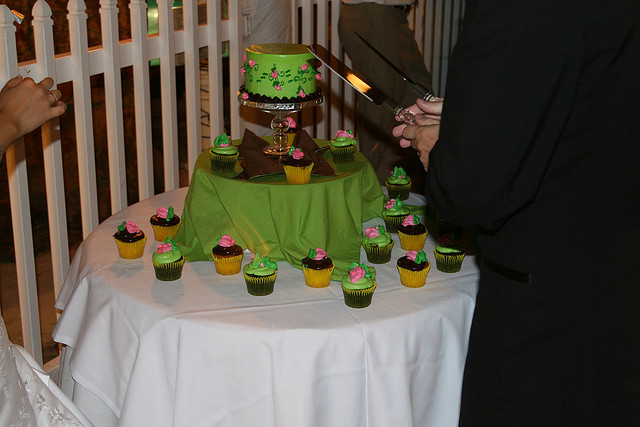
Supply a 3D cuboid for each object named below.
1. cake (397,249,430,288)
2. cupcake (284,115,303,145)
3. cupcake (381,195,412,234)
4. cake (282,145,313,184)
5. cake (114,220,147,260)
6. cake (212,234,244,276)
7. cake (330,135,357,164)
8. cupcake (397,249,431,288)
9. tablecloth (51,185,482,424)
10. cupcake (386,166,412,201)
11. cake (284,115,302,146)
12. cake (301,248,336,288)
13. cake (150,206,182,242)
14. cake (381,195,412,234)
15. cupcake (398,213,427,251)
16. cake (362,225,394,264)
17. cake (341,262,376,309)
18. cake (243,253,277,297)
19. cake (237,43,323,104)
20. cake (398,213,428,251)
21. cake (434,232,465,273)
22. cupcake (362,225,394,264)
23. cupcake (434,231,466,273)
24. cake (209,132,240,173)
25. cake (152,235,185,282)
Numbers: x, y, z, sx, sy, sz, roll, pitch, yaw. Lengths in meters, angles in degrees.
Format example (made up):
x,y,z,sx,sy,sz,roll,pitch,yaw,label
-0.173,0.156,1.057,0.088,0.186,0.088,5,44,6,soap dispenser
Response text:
x,y,z,sx,sy,sz,roll,pitch,yaw,label
0.393,0.209,2.262,0.124,0.170,0.152,-2,27,3,cake
-0.141,-0.438,2.835,0.136,0.158,0.154,-2,30,-5,cupcake
0.358,-0.009,2.687,0.138,0.219,0.156,2,25,5,cupcake
-0.101,-0.221,2.357,0.130,0.162,0.125,6,24,11,cake
-0.848,0.121,2.394,0.111,0.154,0.134,-1,5,-9,cake
-0.387,0.178,2.337,0.140,0.183,0.146,-11,26,-27,cake
0.110,-0.328,2.573,0.125,0.165,0.124,9,20,25,cake
0.403,0.224,2.257,0.123,0.160,0.119,-12,16,-28,cupcake
-0.232,0.538,2.299,1.825,0.579,0.832,4,39,4,tablecloth
0.421,-0.166,2.884,0.124,0.171,0.137,8,18,38,cupcake
-0.133,-0.458,2.802,0.129,0.149,0.146,0,29,-1,cake
0.004,0.229,2.241,0.123,0.155,0.130,3,8,43,cake
-0.726,0.052,2.526,0.124,0.164,0.140,17,17,34,cake
0.371,-0.002,2.644,0.118,0.168,0.131,-16,21,-34,cake
0.431,0.086,2.503,0.121,0.176,0.140,0,9,16,cupcake
0.259,0.124,2.406,0.131,0.171,0.139,-19,27,-24,cake
0.152,0.290,2.173,0.141,0.168,0.131,3,24,-4,cake
-0.245,0.236,2.185,0.133,0.169,0.137,-15,28,-31,cake
-0.195,-0.698,2.622,0.431,0.253,0.469,15,28,24,cake
0.435,0.084,2.516,0.140,0.178,0.149,6,14,32,cake
0.541,0.171,2.375,0.133,0.191,0.150,-1,24,2,cake
0.257,0.131,2.416,0.133,0.182,0.142,1,19,24,cupcake
0.557,0.181,2.407,0.132,0.186,0.148,-2,19,1,cupcake
-0.436,-0.286,2.428,0.130,0.166,0.128,-7,22,-32,cake
-0.640,0.179,2.246,0.119,0.171,0.129,15,28,20,cake
